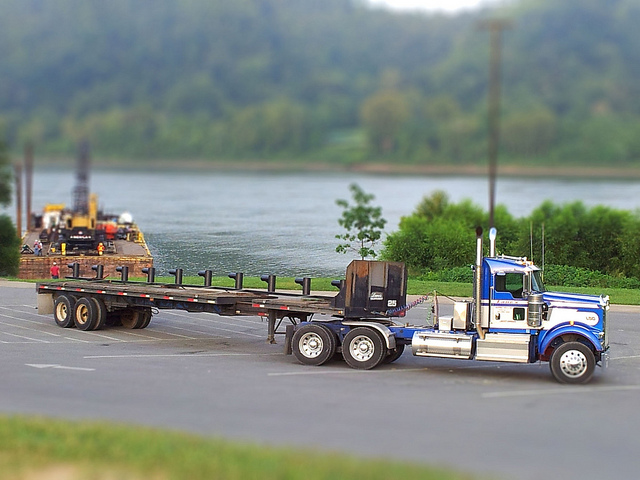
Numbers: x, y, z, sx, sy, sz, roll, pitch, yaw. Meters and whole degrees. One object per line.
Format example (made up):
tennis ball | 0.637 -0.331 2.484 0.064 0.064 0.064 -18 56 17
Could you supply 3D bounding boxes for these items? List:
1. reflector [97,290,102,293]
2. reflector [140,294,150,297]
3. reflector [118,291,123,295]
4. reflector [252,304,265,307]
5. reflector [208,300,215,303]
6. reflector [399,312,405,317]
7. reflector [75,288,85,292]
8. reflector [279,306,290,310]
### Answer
reflector | -7.225 1.677 35.089 0.135 0.112 0.068 1 9 1
reflector | -5.557 1.774 33.941 0.102 0.109 0.405 -6 10 -43
reflector | -6.426 1.701 34.489 0.165 0.112 0.091 1 6 0
reflector | -1.842 1.958 31.885 0.520 0.135 0.066 6 10 40
reflector | -3.295 1.854 32.292 0.110 0.104 0.279 -5 9 -36
reflector | 2.292 2.115 30.298 0.120 0.081 0.114 5 10 31
reflector | -7.968 1.654 35.547 0.404 0.136 0.104 4 8 28
reflector | -1.027 1.985 31.282 0.354 0.109 0.075 6 9 38
